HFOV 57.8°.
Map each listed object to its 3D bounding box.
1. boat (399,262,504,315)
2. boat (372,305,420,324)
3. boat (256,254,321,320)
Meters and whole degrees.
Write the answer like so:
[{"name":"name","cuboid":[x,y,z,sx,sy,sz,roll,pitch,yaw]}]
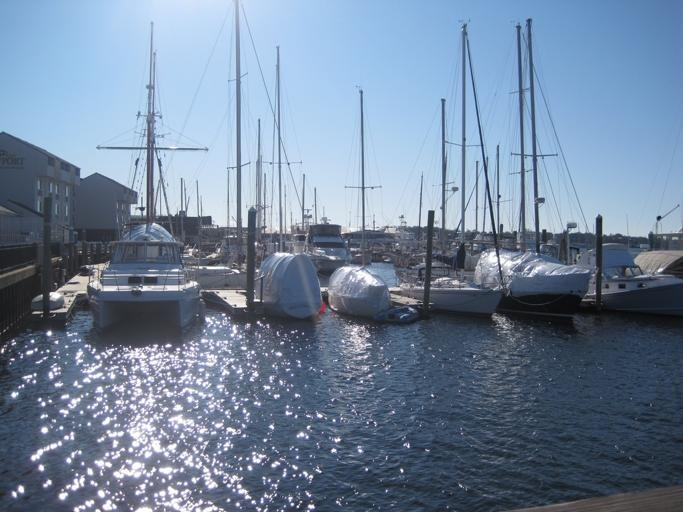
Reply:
[{"name":"boat","cuboid":[4.816,1.708,29.473,1.652,1.879,5.318,-4,4,-28]},{"name":"boat","cuboid":[2.586,2.589,26.884,2.313,0.333,1.583,-8,14,-40]},{"name":"boat","cuboid":[-2.346,1.233,28.137,2.434,2.806,3.132,-2,6,-37]}]
